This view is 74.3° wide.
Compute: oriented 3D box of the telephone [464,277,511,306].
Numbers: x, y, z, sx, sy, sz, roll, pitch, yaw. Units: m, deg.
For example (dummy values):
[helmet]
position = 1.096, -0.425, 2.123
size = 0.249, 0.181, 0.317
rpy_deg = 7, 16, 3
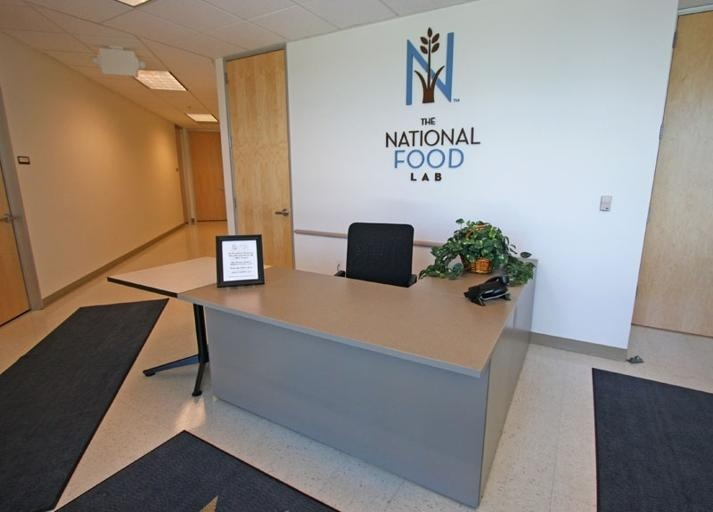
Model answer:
[telephone]
position = 1.007, 0.237, 3.468
size = 0.381, 0.176, 0.187
rpy_deg = -4, 15, -21

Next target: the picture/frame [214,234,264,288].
[picture/frame]
position = -0.909, 0.044, 3.660
size = 0.378, 0.452, 0.031
rpy_deg = -2, 3, -8

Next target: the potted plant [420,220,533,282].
[potted plant]
position = 1.090, -0.088, 4.088
size = 0.784, 0.364, 0.765
rpy_deg = -7, 12, 13
